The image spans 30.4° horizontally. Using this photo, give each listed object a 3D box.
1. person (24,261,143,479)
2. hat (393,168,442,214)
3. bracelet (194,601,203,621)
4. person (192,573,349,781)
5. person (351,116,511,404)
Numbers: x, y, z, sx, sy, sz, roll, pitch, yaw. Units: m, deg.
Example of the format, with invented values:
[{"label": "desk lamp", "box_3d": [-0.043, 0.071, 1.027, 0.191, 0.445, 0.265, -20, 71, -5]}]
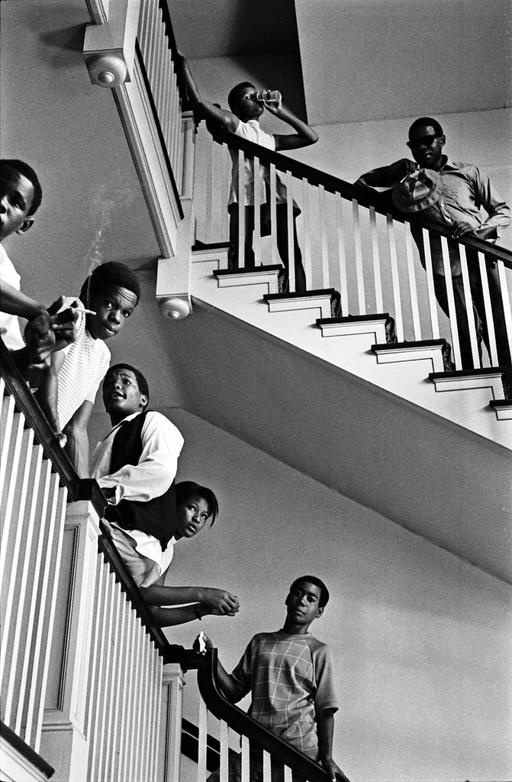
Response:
[{"label": "person", "box_3d": [-0.656, -0.089, 3.544, 0.306, 0.974, 0.322, -20, -66, 8]}, {"label": "hat", "box_3d": [0.858, -1.076, 5.078, 0.273, 0.322, 0.202, 4, -32, 5]}, {"label": "bracelet", "box_3d": [-0.254, 0.986, 4.207, 0.021, 0.062, 0.043, 6, -4, -27]}, {"label": "person", "box_3d": [0.105, 1.311, 4.505, 0.566, 1.168, 0.853, 7, -32, 1]}, {"label": "person", "box_3d": [1.009, -0.751, 5.049, 0.781, 1.791, 0.477, 20, -33, -20]}]
